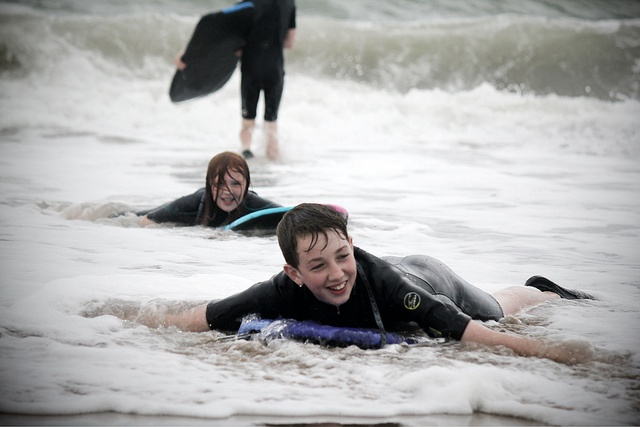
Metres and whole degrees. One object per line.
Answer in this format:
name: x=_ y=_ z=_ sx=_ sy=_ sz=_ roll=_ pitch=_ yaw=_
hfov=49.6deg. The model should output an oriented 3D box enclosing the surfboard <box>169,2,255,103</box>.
surfboard: x=-1.281 y=-1.957 z=8.345 sx=0.312 sy=1.368 sz=0.874 roll=51 pitch=23 yaw=26
